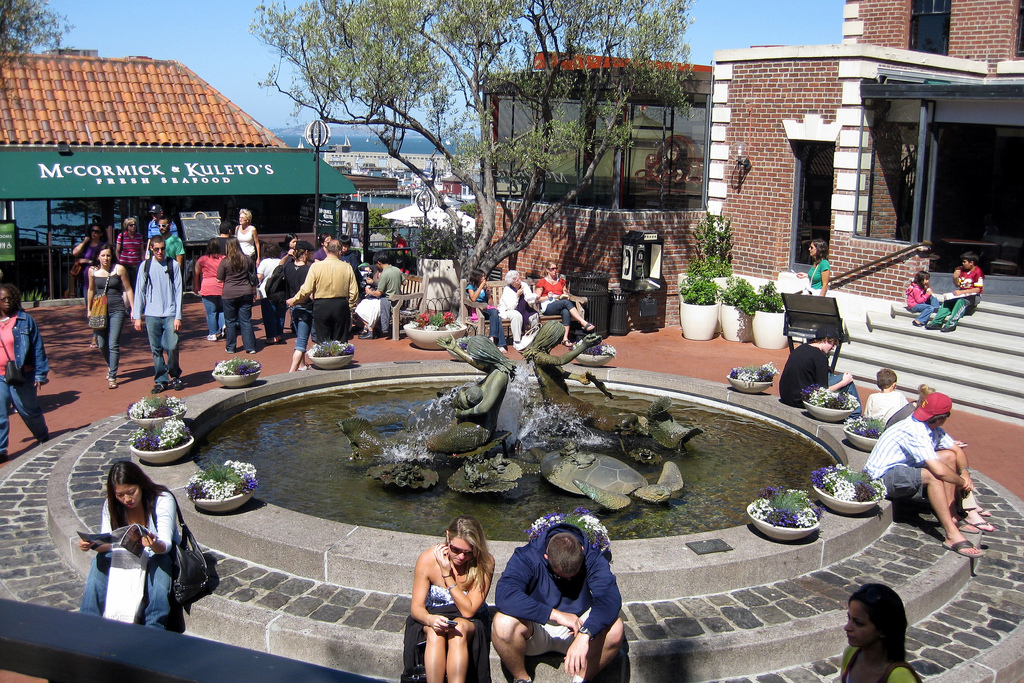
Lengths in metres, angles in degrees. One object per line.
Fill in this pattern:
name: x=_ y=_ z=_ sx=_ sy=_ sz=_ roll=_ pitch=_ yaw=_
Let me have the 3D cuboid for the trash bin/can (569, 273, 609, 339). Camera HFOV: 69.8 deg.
trash bin/can: x=2.096 y=-1.045 z=18.498 sx=1.265 sy=2.011 sz=1.361 roll=0 pitch=10 yaw=6

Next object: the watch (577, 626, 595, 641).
watch: x=0.572 y=2.234 z=5.651 sx=0.107 sy=0.112 sz=0.072 roll=17 pitch=45 yaw=35

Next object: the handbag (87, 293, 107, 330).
handbag: x=-7.156 y=-0.494 z=12.710 sx=0.352 sy=0.629 sz=0.202 roll=2 pitch=11 yaw=21

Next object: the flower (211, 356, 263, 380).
flower: x=-4.357 y=0.415 z=11.593 sx=0.566 sy=0.274 sz=0.588 roll=0 pitch=7 yaw=1

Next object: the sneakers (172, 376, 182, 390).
sneakers: x=-5.807 y=0.704 z=12.808 sx=0.205 sy=0.181 sz=0.202 roll=5 pitch=12 yaw=33

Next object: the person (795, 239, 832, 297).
person: x=6.496 y=-1.583 z=15.544 sx=0.385 sy=1.132 sz=2.331 roll=2 pitch=11 yaw=22

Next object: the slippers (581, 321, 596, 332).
slippers: x=1.609 y=-0.298 z=15.327 sx=0.166 sy=0.176 sz=0.426 roll=-14 pitch=12 yaw=-21

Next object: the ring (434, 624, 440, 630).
ring: x=-0.573 y=2.175 z=5.610 sx=0.044 sy=0.048 sz=0.012 roll=2 pitch=10 yaw=19

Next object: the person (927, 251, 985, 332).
person: x=9.262 y=-1.056 z=15.283 sx=1.201 sy=1.561 sz=0.587 roll=-7 pitch=12 yaw=-30

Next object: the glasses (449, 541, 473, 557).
glasses: x=-0.398 y=1.619 z=5.719 sx=0.168 sy=0.121 sz=0.063 roll=-1 pitch=10 yaw=5

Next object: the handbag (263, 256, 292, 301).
handbag: x=-5.021 y=-1.293 z=15.740 sx=0.687 sy=1.336 sz=1.028 roll=0 pitch=13 yaw=-18

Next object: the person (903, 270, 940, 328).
person: x=8.851 y=-0.984 z=15.802 sx=0.692 sy=1.123 sz=0.660 roll=-10 pitch=14 yaw=-29

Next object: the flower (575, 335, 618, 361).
flower: x=1.532 y=0.087 z=12.998 sx=0.544 sy=0.328 sz=0.613 roll=2 pitch=5 yaw=1

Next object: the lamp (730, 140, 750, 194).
lamp: x=6.051 y=-4.581 z=19.255 sx=0.406 sy=1.234 sz=0.225 roll=0 pitch=10 yaw=10

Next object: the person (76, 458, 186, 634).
person: x=-3.239 y=1.788 z=6.234 sx=0.805 sy=1.665 sz=0.440 roll=-7 pitch=11 yaw=-27

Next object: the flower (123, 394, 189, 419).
flower: x=-4.734 y=0.891 z=10.014 sx=0.492 sy=0.256 sz=0.514 roll=3 pitch=5 yaw=17

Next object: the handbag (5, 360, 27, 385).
handbag: x=-6.542 y=0.413 z=9.704 sx=0.179 sy=0.321 sz=0.312 roll=-5 pitch=-11 yaw=25

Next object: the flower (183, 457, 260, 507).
flower: x=-3.076 y=1.479 z=7.740 sx=0.526 sy=0.310 sz=0.516 roll=-1 pitch=24 yaw=0

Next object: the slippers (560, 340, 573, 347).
slippers: x=1.112 y=0.031 z=14.820 sx=0.119 sy=0.149 sz=0.358 roll=-5 pitch=3 yaw=-19

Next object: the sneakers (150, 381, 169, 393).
sneakers: x=-5.936 y=0.767 z=12.416 sx=0.154 sy=0.089 sz=0.235 roll=-1 pitch=9 yaw=-10

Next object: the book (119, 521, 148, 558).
book: x=-3.131 y=1.638 z=6.087 sx=0.191 sy=0.232 sz=0.075 roll=5 pitch=24 yaw=-19

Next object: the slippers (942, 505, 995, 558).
slippers: x=5.030 y=2.087 z=8.091 sx=0.466 sy=0.114 sz=0.471 roll=-2 pitch=20 yaw=28

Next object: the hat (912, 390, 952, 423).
hat: x=4.781 y=0.731 z=8.381 sx=0.361 sy=0.340 sz=0.407 roll=4 pitch=12 yaw=30

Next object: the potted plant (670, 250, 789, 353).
potted plant: x=5.440 y=-0.922 z=17.741 sx=2.560 sy=1.805 sz=1.612 roll=6 pitch=13 yaw=37

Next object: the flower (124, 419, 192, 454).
flower: x=-4.296 y=1.167 z=9.112 sx=0.464 sy=0.238 sz=0.482 roll=0 pitch=5 yaw=0

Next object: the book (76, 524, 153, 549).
book: x=-3.249 y=1.609 z=6.063 sx=0.351 sy=0.124 sz=0.271 roll=-18 pitch=-29 yaw=2
